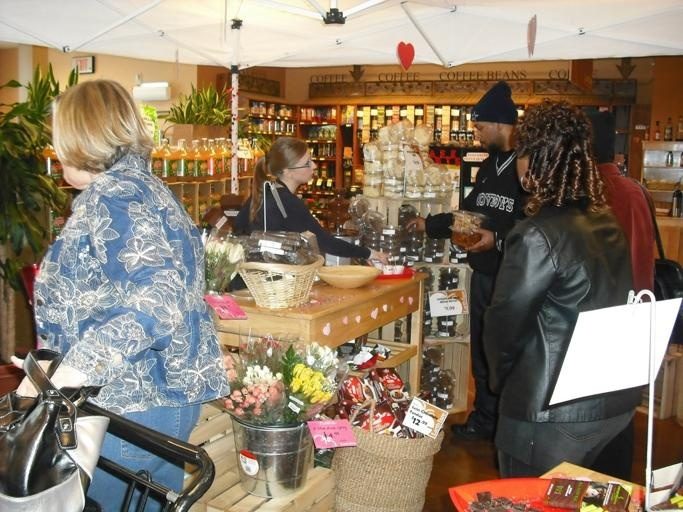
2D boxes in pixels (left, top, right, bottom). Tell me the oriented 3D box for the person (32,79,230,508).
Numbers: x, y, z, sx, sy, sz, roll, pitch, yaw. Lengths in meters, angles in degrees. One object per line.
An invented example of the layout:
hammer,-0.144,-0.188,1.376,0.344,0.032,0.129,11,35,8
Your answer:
person,-0.678,0.043,1.748,0.508,1.156,0.441,-9,14,-28

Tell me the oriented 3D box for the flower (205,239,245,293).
flower,-0.498,0.046,2.765,0.235,0.266,0.255,3,-1,12

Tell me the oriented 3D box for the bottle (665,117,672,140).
bottle,6.164,-2.395,10.639,0.140,0.405,0.490,5,14,30

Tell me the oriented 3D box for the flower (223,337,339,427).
flower,-0.247,0.457,2.238,0.364,0.208,0.362,13,21,27

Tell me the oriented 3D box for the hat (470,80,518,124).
hat,1.047,-1.048,3.889,0.356,0.300,0.291,-4,27,7

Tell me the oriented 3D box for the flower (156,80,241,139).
flower,-2.053,-2.107,8.167,0.808,0.605,0.791,10,11,6

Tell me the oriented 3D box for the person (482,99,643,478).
person,0.854,0.155,2.180,0.566,1.459,0.420,-3,13,-3

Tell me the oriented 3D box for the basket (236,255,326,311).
basket,-0.315,0.152,2.863,0.435,0.199,0.445,5,-11,-34

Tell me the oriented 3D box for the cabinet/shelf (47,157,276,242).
cabinet/shelf,-2.143,-0.894,6.917,2.390,0.747,0.598,-4,-1,-24
